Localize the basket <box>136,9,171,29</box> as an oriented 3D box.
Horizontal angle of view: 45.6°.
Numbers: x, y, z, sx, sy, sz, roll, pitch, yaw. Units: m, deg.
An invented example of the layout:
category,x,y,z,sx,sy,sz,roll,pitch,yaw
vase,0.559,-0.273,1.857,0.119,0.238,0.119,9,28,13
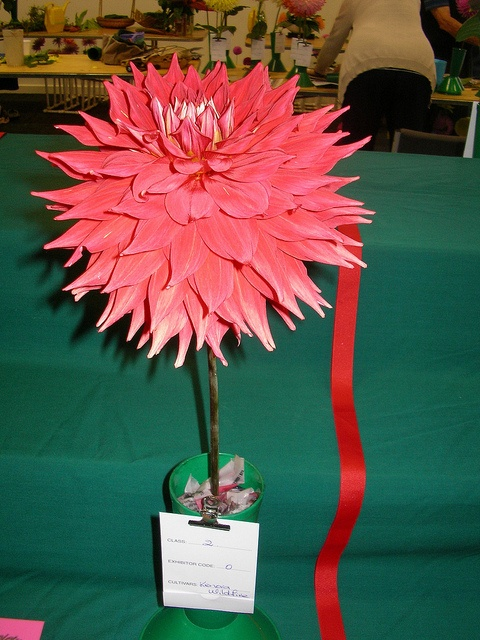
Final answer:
category,x,y,z,sx,sy,sz,roll,pitch,yaw
basket,-0.591,-2.009,3.885,0.179,0.106,0.195,5,39,-4
